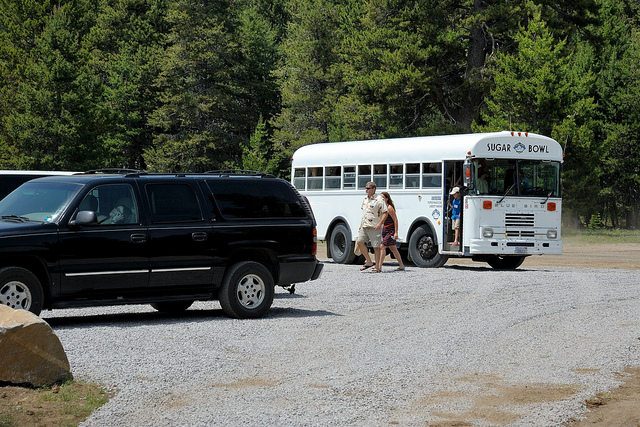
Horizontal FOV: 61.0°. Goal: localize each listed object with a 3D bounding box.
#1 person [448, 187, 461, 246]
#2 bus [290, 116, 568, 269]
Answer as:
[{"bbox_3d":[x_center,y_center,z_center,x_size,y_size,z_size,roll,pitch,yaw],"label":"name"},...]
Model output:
[{"bbox_3d":[4.752,0.130,19.029,0.345,1.834,0.211,-2,0,21],"label":"person"},{"bbox_3d":[3.784,-0.562,24.078,4.483,5.601,12.680,-2,3,-27],"label":"bus"}]
